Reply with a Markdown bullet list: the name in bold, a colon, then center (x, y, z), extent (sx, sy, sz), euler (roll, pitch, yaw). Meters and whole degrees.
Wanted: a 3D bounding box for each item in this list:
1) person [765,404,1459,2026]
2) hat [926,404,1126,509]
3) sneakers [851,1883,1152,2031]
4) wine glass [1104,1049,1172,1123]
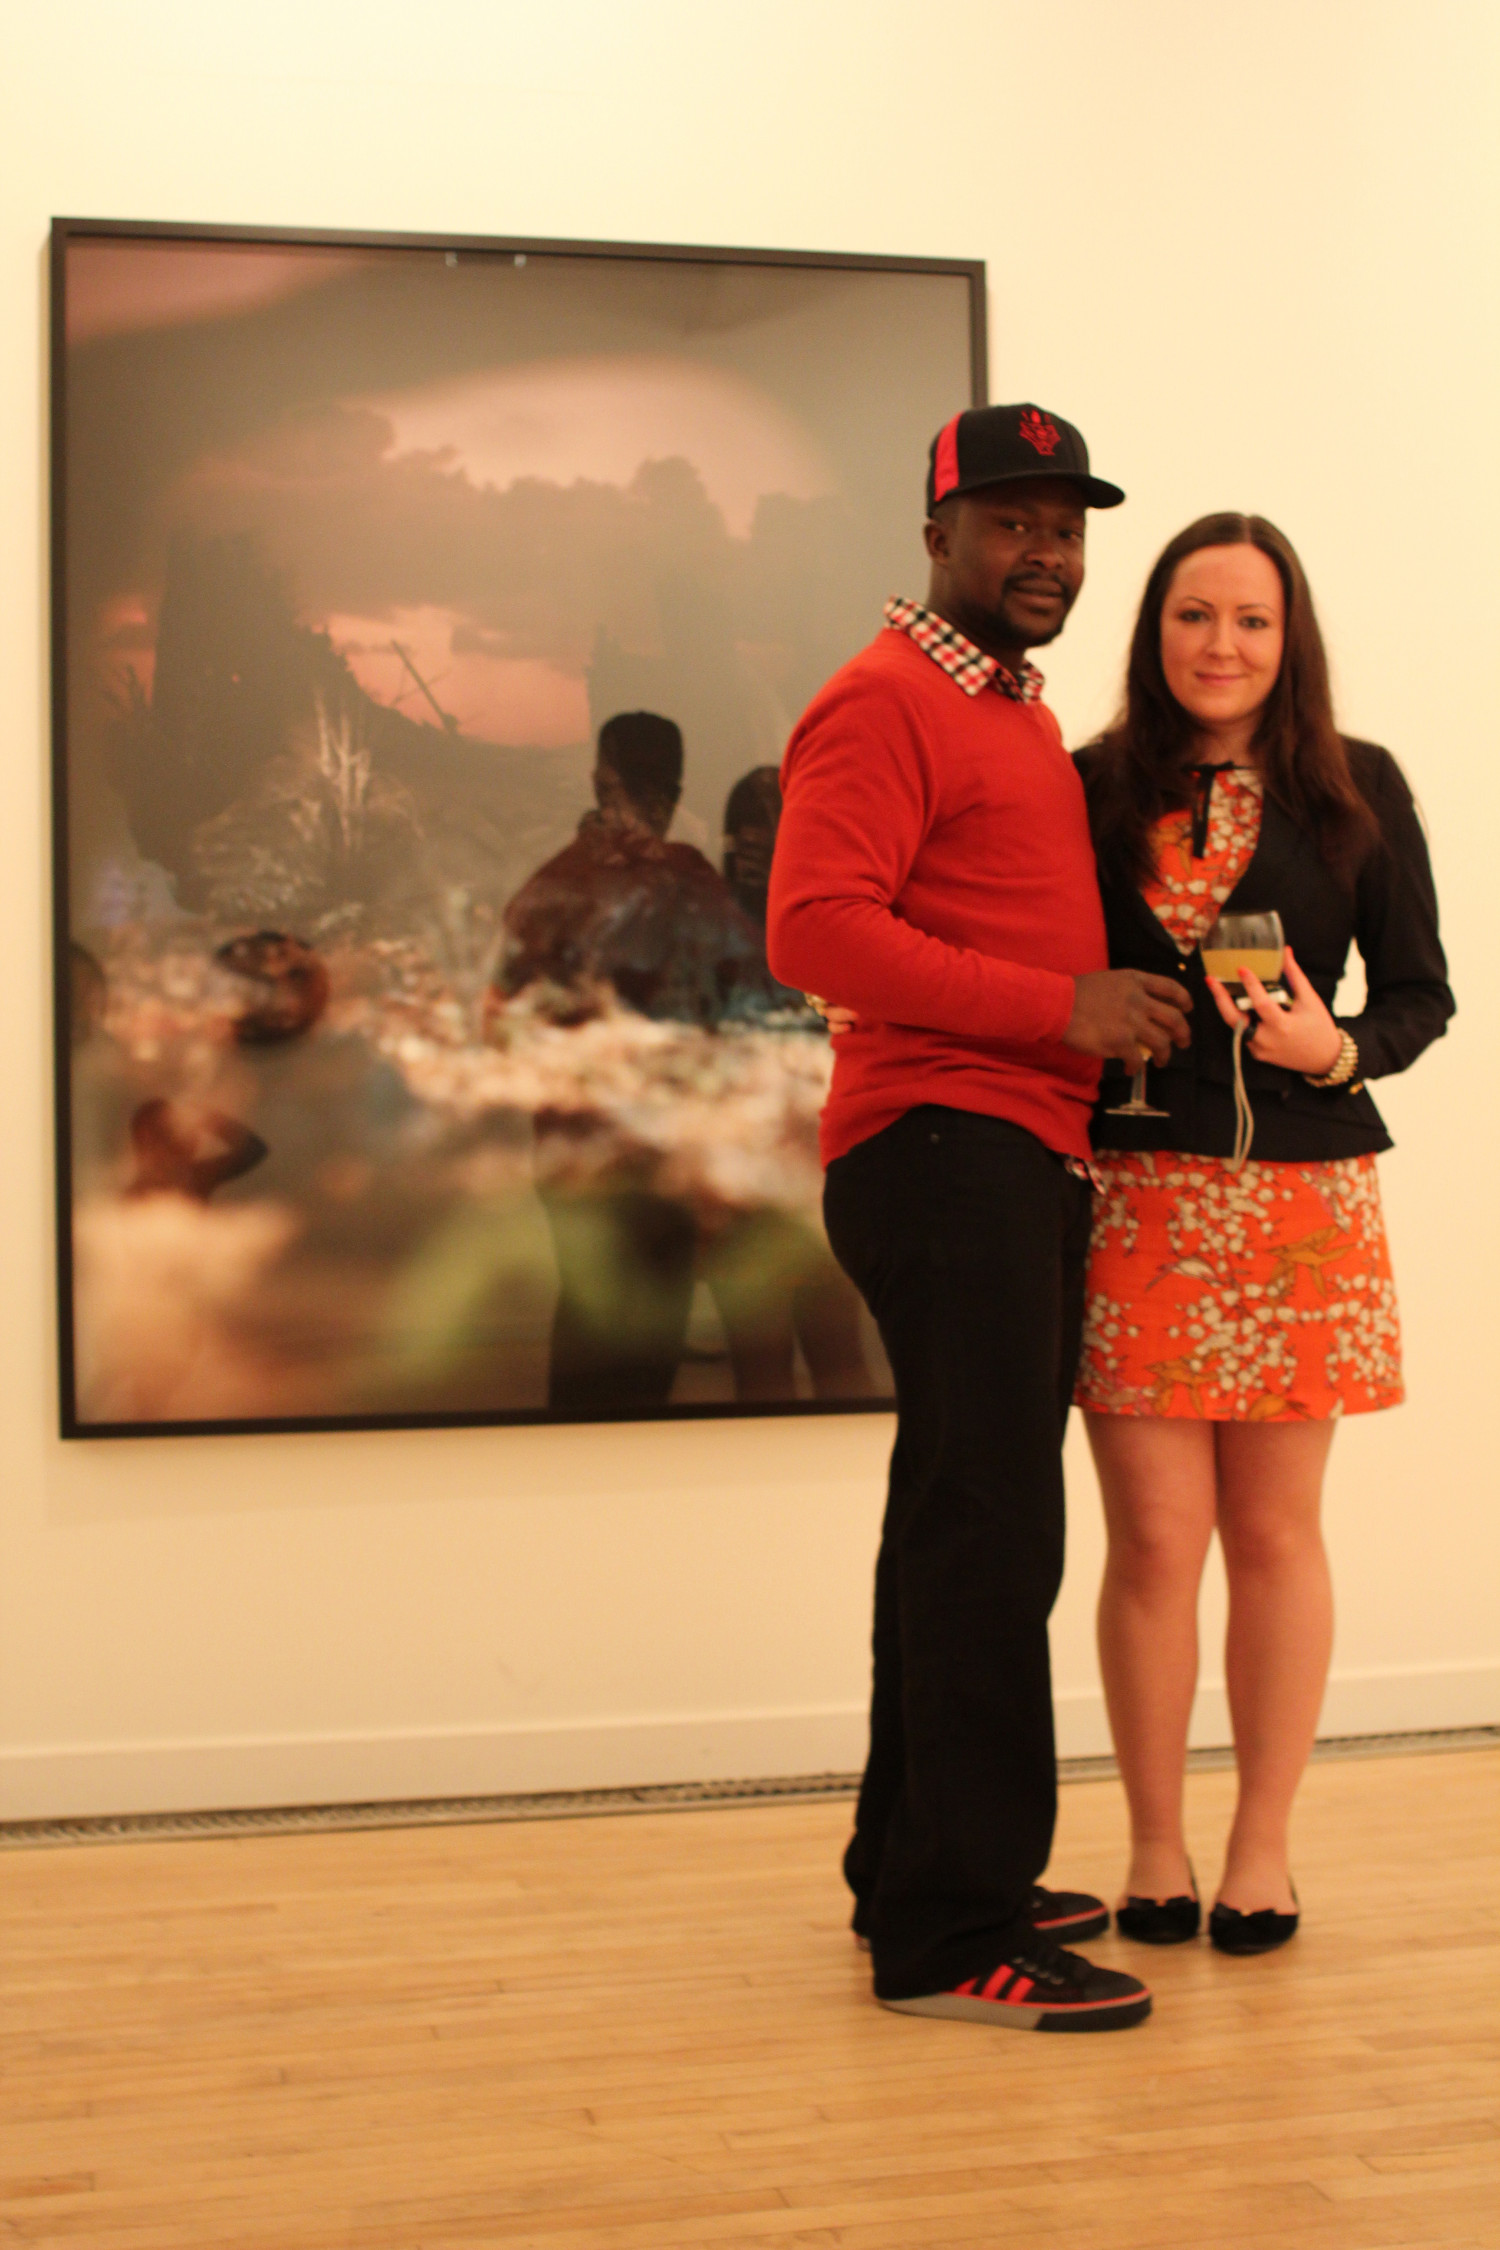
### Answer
- **person**: center (0.244, 0.082, 2.104), extent (0.430, 1.665, 0.400), euler (-1, -3, 1)
- **hat**: center (0.275, -0.693, 2.093), extent (0.129, 0.080, 0.164), euler (-13, 19, -37)
- **sneakers**: center (0.239, 0.869, 2.067), extent (0.338, 0.130, 0.108), euler (-1, 5, 4)
- **wine glass**: center (0.420, -0.051, 2.186), extent (0.067, 0.067, 0.063), euler (0, 1, -1)
